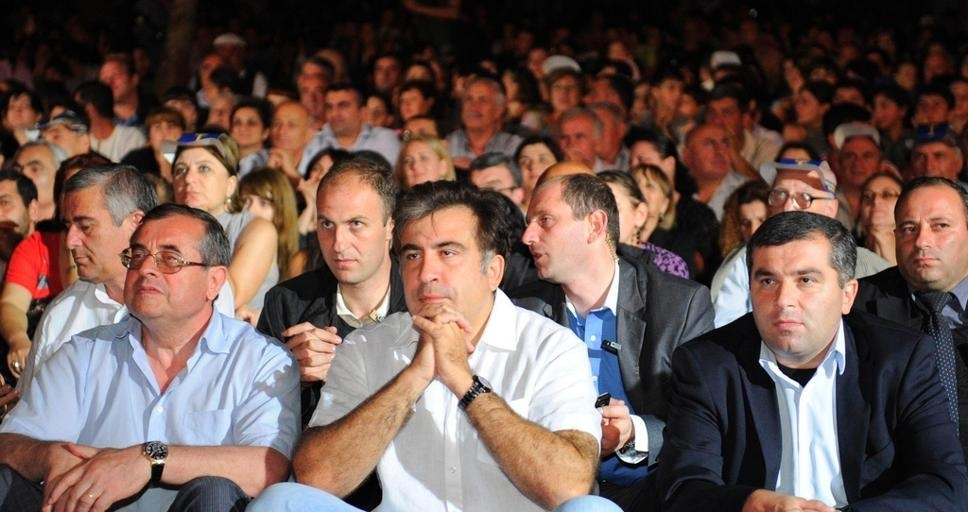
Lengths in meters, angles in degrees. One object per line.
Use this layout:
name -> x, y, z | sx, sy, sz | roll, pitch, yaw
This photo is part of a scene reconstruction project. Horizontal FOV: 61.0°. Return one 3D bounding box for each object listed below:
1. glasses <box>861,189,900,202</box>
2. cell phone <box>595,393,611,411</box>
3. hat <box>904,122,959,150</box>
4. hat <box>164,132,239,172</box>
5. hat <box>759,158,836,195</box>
glasses -> 4.410, -0.676, 9.130 | 0.238, 0.108, 0.306 | -7, -16, 36
cell phone -> 0.978, 1.192, 6.763 | 0.091, 0.143, 0.085 | 33, 8, 16
hat -> 5.391, -1.430, 9.840 | 0.695, 0.285, 1.064 | -3, 1, 30
hat -> -2.970, -1.200, 9.110 | 0.580, 0.184, 0.630 | -7, -10, 0
hat -> 3.418, -0.901, 8.651 | 0.664, 0.179, 0.437 | 18, -4, -31
